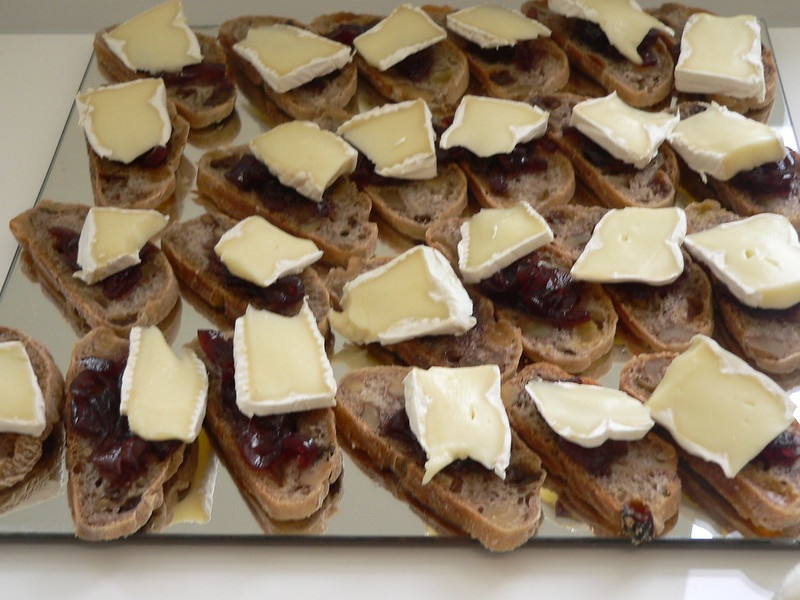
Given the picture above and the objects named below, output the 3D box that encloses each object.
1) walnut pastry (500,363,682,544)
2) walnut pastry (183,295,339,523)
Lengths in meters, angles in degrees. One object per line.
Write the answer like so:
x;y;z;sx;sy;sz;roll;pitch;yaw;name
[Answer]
0.577;0.447;2.797;0.327;0.156;0.624;-33;67;-17;walnut pastry
-0.412;0.320;2.770;0.338;0.206;0.658;-25;71;-10;walnut pastry
